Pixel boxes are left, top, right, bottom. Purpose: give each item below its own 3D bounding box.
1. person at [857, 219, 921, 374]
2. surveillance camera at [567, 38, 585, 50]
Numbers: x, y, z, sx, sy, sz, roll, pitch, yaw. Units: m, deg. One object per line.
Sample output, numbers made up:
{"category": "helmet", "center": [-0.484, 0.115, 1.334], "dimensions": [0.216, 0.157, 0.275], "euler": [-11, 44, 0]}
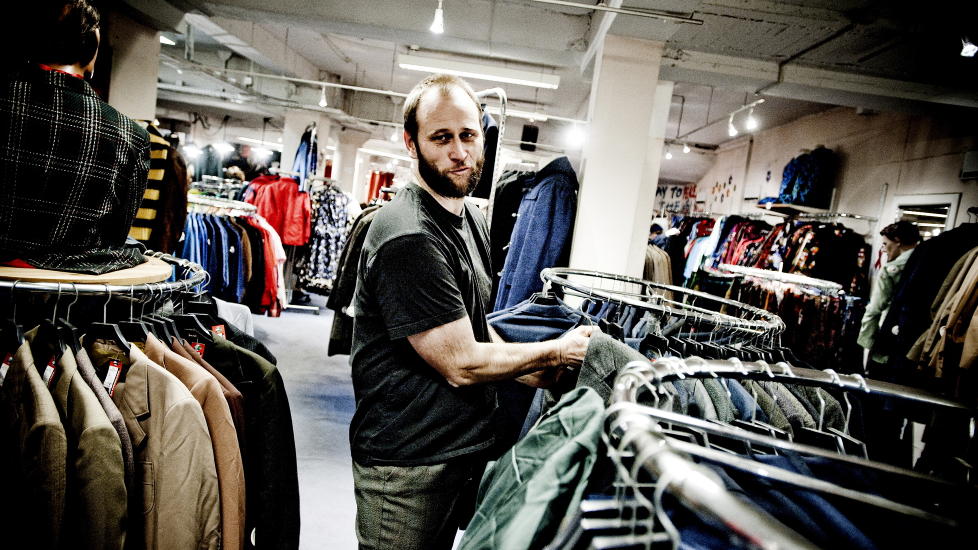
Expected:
{"category": "person", "center": [4.019, 0.199, 5.781], "dimensions": [0.334, 1.102, 0.947], "euler": [14, 10, 33]}
{"category": "surveillance camera", "center": [0.934, -2.470, 6.141], "dimensions": [0.173, 0.118, 0.033], "euler": [8, 9, 2]}
